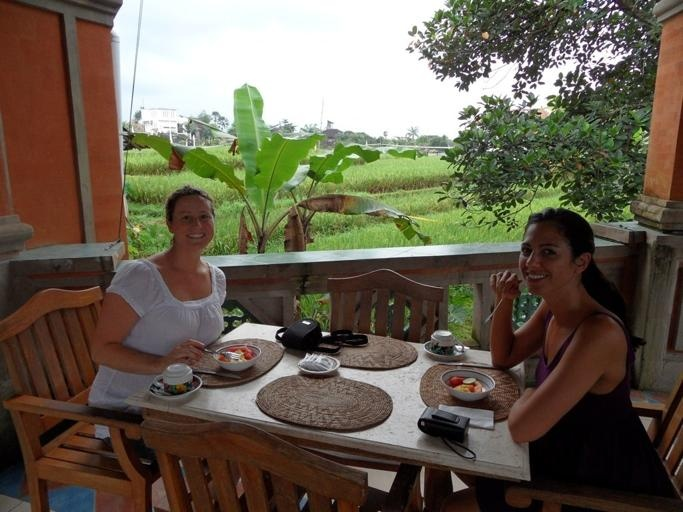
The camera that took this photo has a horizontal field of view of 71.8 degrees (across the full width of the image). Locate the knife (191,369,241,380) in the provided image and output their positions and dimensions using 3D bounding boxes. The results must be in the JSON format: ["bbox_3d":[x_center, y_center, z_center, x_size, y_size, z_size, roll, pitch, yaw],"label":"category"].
[{"bbox_3d":[-0.555,0.529,2.089,0.235,0.012,0.030,7,36,22],"label":"knife"}]

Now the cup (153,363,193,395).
[{"bbox_3d":[-0.688,0.513,1.936,0.119,0.100,0.114,1,6,0],"label":"cup"}]

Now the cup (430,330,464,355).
[{"bbox_3d":[0.521,0.444,2.349,0.159,0.060,0.094,2,2,-15],"label":"cup"}]

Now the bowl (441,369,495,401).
[{"bbox_3d":[0.533,0.569,2.023,0.215,0.071,0.214,-1,10,0],"label":"bowl"}]
